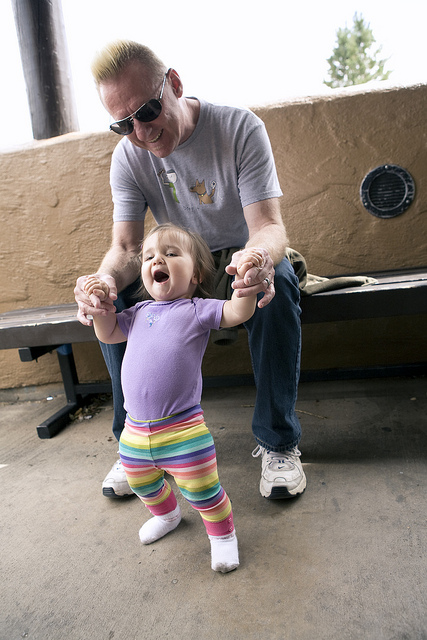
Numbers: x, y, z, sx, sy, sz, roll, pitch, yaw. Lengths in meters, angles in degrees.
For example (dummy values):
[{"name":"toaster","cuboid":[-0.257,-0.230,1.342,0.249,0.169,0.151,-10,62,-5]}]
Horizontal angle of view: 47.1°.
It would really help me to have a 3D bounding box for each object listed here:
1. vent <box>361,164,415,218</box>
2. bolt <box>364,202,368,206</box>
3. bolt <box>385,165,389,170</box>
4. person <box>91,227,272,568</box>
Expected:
[{"name":"vent","cuboid":[0.829,-0.623,2.320,0.246,0.255,0.050,-3,11,12]},{"name":"bolt","cuboid":[0.729,-0.556,2.347,0.017,0.017,0.009,-2,6,8]},{"name":"bolt","cuboid":[0.810,-0.716,2.292,0.014,0.012,0.012,6,27,17]},{"name":"person","cuboid":[-0.069,0.167,1.318,0.423,0.828,0.476,-11,10,-16]}]
